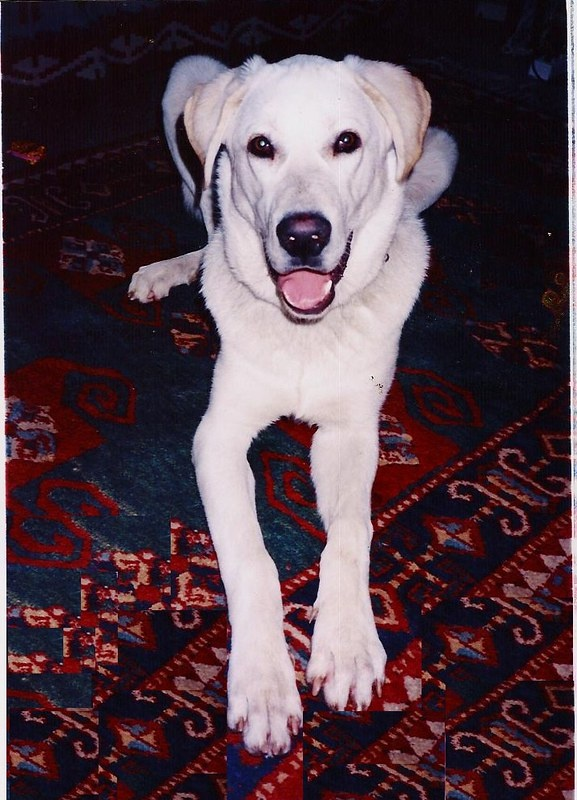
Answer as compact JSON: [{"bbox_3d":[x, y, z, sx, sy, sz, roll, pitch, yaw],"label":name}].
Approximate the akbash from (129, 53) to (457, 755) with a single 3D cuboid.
[{"bbox_3d":[0.028,0.013,2.787,1.095,1.907,0.879,2,-21,3],"label":"akbash"}]
